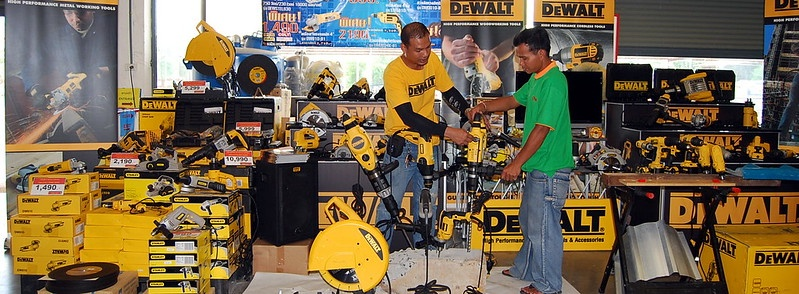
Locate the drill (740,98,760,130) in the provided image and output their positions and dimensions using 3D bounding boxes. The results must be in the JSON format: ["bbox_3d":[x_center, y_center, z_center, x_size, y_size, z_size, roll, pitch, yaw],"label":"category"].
[{"bbox_3d":[9.280,-0.880,19.839,0.341,0.761,0.355,2,4,30],"label":"drill"}]

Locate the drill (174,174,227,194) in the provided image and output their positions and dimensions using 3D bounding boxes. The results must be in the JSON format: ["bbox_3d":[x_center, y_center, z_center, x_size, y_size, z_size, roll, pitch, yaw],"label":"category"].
[{"bbox_3d":[-4.539,0.947,18.418,1.802,0.348,0.415,8,-23,-5],"label":"drill"}]

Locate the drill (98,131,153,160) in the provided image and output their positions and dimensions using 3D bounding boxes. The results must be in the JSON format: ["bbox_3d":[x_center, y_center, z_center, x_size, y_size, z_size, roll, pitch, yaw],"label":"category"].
[{"bbox_3d":[-6.984,-0.022,18.952,1.168,0.340,0.714,-13,40,-11],"label":"drill"}]

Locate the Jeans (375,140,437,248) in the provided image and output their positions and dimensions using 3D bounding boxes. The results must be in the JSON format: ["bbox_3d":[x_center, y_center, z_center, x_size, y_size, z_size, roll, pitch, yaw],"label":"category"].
[{"bbox_3d":[0.068,1.126,18.026,1.383,2.317,0.862,0,-8,-28],"label":"Jeans"}]
